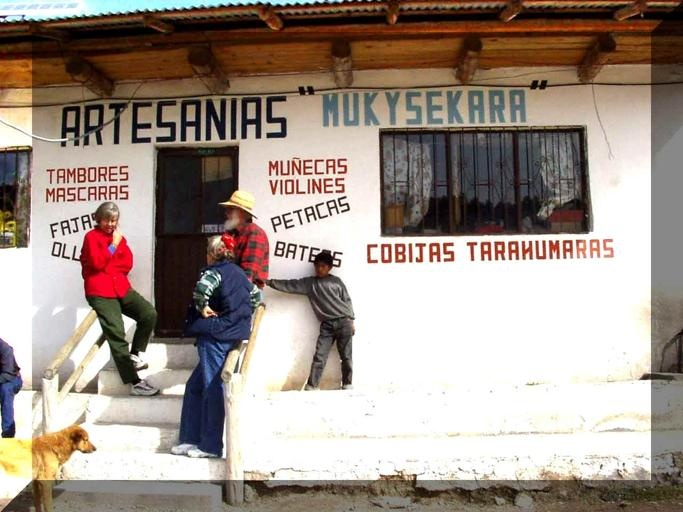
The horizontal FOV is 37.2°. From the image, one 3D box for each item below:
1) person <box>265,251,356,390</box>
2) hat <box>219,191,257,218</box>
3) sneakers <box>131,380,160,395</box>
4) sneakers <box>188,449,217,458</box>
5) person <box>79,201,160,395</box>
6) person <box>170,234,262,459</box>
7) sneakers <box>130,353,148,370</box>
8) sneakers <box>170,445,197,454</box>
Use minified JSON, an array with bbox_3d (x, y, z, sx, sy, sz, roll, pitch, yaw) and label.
[{"bbox_3d":[-0.388,0.925,13.417,1.305,2.241,0.658,-3,-14,10],"label":"person"},{"bbox_3d":[-1.308,-0.650,12.986,0.357,0.209,0.351,23,5,-38],"label":"hat"},{"bbox_3d":[-2.454,1.642,12.751,0.359,0.219,0.157,2,-4,-1],"label":"sneakers"},{"bbox_3d":[-1.651,2.344,12.116,0.328,0.171,0.134,1,-5,7],"label":"sneakers"},{"bbox_3d":[-2.793,0.522,12.822,0.928,2.429,0.585,0,-1,-17],"label":"person"},{"bbox_3d":[-1.512,1.065,12.112,0.906,2.654,0.492,0,-1,-10],"label":"person"},{"bbox_3d":[-2.556,1.293,12.790,0.151,0.087,0.202,32,-4,-42],"label":"sneakers"},{"bbox_3d":[-1.887,2.310,12.122,0.216,0.110,0.135,9,-10,2],"label":"sneakers"}]
